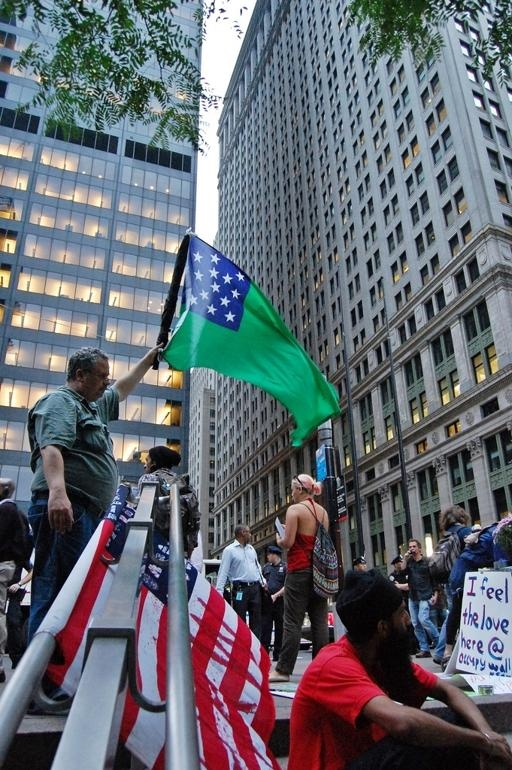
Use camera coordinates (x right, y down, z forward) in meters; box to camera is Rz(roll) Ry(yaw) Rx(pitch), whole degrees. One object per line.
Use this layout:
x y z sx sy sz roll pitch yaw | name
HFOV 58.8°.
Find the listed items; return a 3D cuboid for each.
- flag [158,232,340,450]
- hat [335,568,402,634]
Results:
-0.001 -0.613 5.987 2.201 2.947 0.262 5 -21 1 | flag
0.559 1.110 2.271 0.327 0.318 0.256 -16 -41 17 | hat
